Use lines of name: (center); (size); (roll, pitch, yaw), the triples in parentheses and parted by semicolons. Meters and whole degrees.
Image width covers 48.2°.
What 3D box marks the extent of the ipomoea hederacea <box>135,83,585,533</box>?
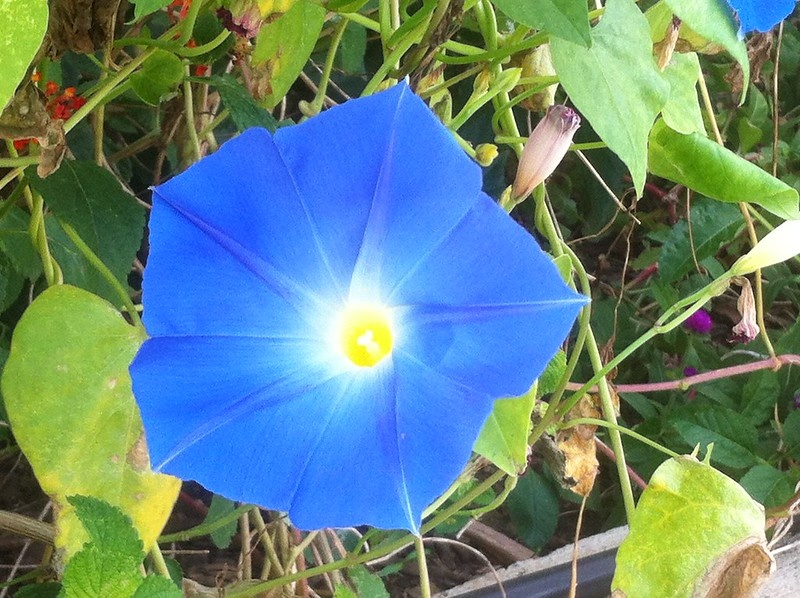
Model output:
ipomoea hederacea: (-0.065, 0.025, 1.151); (0.574, 0.267, 0.660); (-4, 19, 9)
